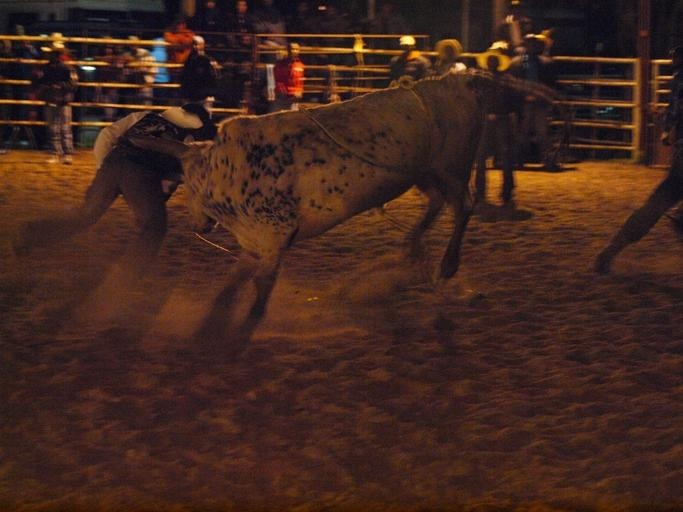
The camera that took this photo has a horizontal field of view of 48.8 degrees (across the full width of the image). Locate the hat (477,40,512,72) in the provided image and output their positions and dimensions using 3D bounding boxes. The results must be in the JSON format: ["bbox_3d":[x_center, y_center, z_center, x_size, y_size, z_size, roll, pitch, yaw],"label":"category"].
[{"bbox_3d":[1.984,-2.620,9.862,0.422,0.408,0.684,5,9,10],"label":"hat"}]

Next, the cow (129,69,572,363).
[{"bbox_3d":[-0.021,-0.398,5.378,1.939,1.945,0.969,-3,11,-35],"label":"cow"}]

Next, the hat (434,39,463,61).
[{"bbox_3d":[1.216,-2.370,8.700,0.279,0.292,0.639,4,8,5],"label":"hat"}]
